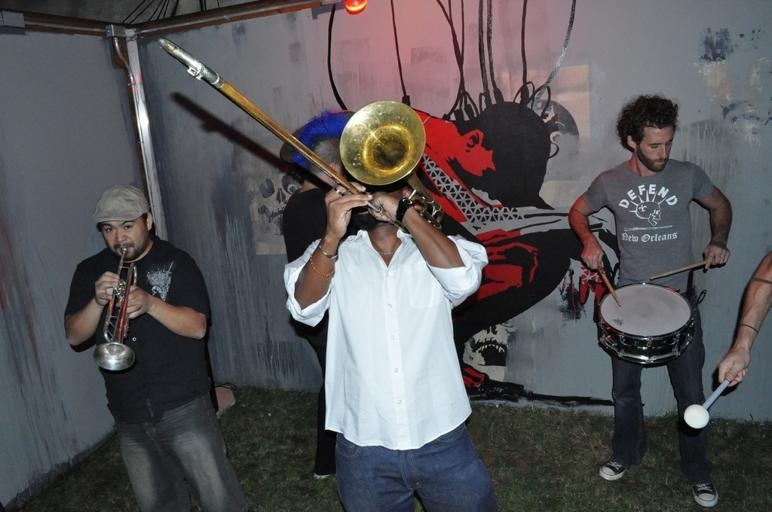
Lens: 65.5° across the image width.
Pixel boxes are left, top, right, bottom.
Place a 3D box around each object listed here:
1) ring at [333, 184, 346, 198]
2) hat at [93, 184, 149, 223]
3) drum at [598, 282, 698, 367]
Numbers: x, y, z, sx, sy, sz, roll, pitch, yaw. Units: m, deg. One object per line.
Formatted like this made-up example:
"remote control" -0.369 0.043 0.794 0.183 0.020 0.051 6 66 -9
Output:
"ring" -0.299 -0.409 3.884 0.052 0.073 0.033 -30 7 -26
"hat" -1.995 -0.405 4.521 0.343 0.304 0.283 -5 15 -20
"drum" 2.110 0.555 4.869 0.696 0.289 0.705 -13 32 8
